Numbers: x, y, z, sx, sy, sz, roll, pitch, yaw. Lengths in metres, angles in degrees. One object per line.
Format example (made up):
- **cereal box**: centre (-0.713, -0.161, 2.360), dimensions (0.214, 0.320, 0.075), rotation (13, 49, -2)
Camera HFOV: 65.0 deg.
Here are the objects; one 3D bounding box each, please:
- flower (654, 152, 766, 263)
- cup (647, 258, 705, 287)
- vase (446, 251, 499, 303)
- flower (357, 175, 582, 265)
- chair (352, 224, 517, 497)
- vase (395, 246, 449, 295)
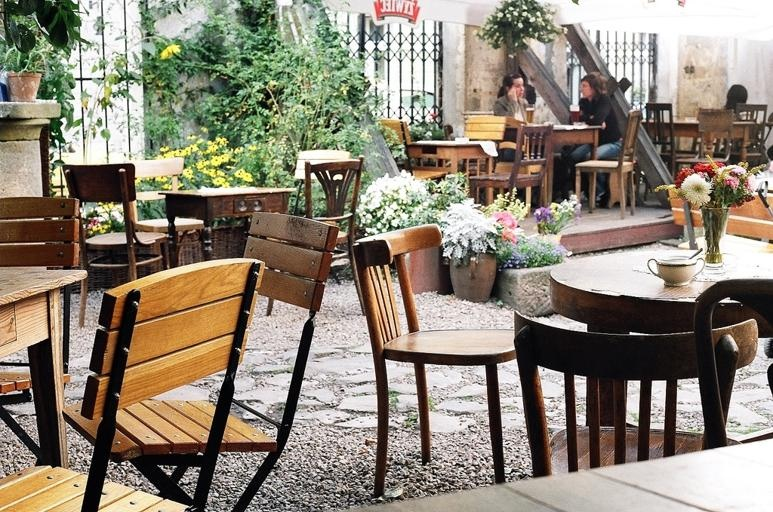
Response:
- **flower**: centre (1.629, -0.204, 3.024), dimensions (0.389, 0.461, 0.428), rotation (-1, -3, -1)
- **cup**: centre (1.283, 0.065, 2.723), dimensions (0.212, 0.084, 0.149), rotation (0, -2, 7)
- **vase**: centre (0.852, 0.183, 6.062), dimensions (0.495, 0.470, 0.504), rotation (3, 5, 37)
- **flower**: centre (0.643, -0.384, 6.266), dimensions (1.480, 0.523, 1.423), rotation (6, 8, 17)
- **chair**: centre (0.286, 0.503, 2.925), dimensions (0.839, 1.170, 0.856), rotation (0, 2, 29)
- **vase**: centre (0.401, 0.156, 6.133), dimensions (0.489, 0.445, 0.422), rotation (-7, 4, 11)
